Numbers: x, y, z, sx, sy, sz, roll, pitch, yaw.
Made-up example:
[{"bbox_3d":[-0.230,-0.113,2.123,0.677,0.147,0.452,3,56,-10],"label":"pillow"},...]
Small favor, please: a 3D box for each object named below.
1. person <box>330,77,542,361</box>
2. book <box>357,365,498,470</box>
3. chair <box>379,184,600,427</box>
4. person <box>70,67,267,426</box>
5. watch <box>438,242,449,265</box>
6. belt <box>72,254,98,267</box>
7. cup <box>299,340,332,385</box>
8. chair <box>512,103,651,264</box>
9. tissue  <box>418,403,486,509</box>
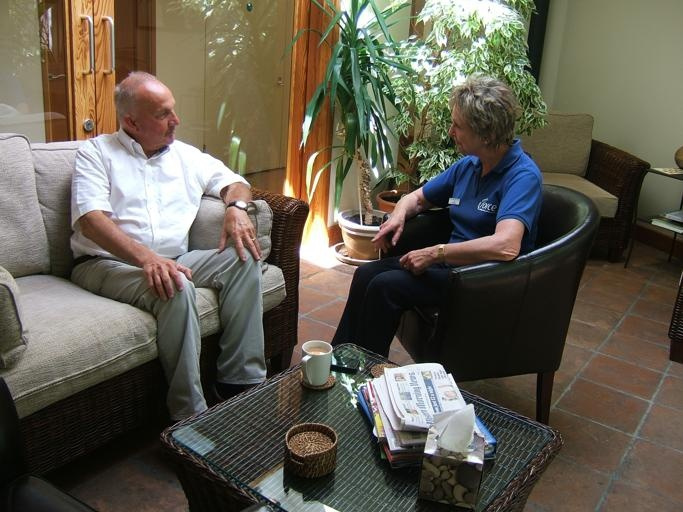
[{"bbox_3d":[0.385,-0.021,2.101,0.910,1.428,0.748,2,17,-12],"label":"person"},{"bbox_3d":[0.198,0.407,1.212,0.231,0.057,0.234,5,30,-26],"label":"book"},{"bbox_3d":[0.599,0.250,2.171,0.902,1.011,0.948,8,17,16],"label":"chair"},{"bbox_3d":[-0.728,-0.063,2.079,0.837,1.416,0.803,5,7,29],"label":"person"},{"bbox_3d":[0.418,-0.014,1.885,0.038,0.067,0.065,1,-4,15],"label":"watch"},{"bbox_3d":[-1.100,0.008,1.995,0.079,0.033,0.061,-9,3,4],"label":"belt"},{"bbox_3d":[-0.083,0.353,1.465,0.079,0.096,0.121,9,-18,-42],"label":"cup"},{"bbox_3d":[1.913,-0.657,4.220,0.988,1.229,1.196,0,20,0],"label":"chair"},{"bbox_3d":[0.249,0.462,1.069,0.130,0.270,0.137,5,24,15],"label":"tissue "}]
